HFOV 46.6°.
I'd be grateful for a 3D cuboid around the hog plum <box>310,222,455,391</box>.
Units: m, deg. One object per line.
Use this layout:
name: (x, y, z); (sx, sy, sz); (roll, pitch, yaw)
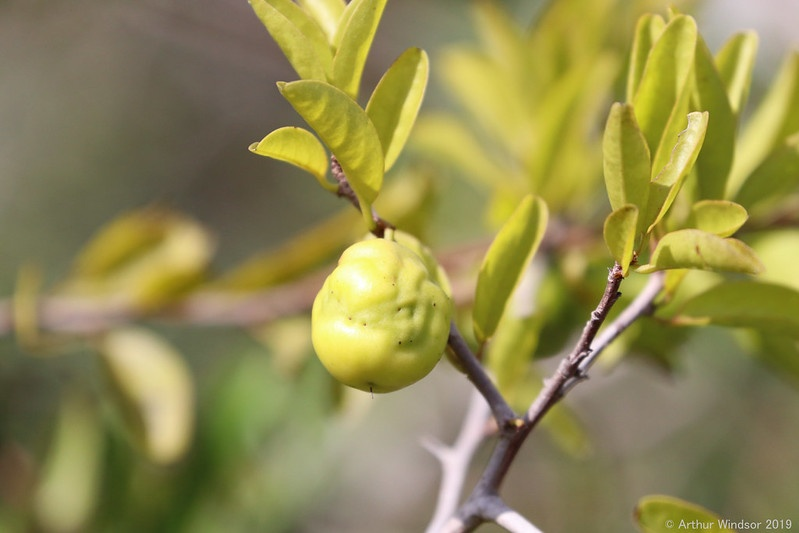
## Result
hog plum: (-0.028, 0.063, 1.240); (0.181, 0.190, 0.221); (1, 101, 39)
